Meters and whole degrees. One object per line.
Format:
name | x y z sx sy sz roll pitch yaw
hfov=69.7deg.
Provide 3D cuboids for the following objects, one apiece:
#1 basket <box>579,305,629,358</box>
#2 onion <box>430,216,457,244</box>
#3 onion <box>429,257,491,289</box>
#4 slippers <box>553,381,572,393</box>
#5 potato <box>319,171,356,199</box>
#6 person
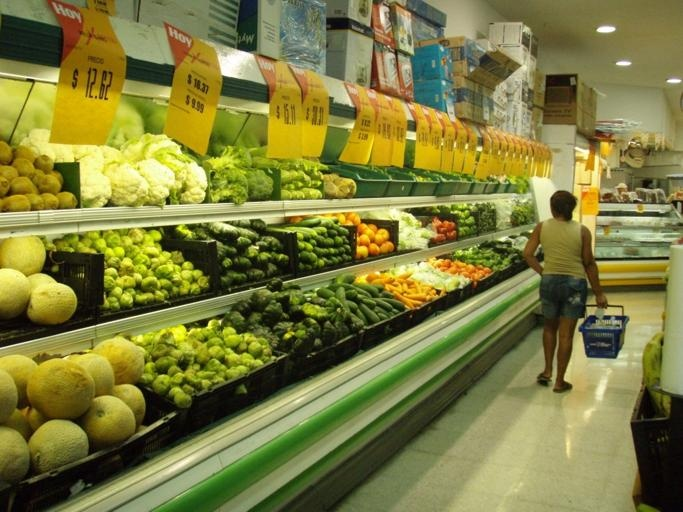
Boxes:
basket | 2.732 0.762 5.145 0.588 0.649 0.683 3 8 22
onion | 1.076 -0.272 5.223 0.192 0.292 0.316 -4 0 39
onion | 1.285 0.141 5.274 0.610 0.237 0.448 -3 13 -13
slippers | 2.047 1.169 4.540 0.073 0.090 0.231 2 10 42
potato | -0.021 -0.500 3.572 0.226 0.164 0.079 27 -12 -22
person | 2.139 0.308 4.715 0.714 1.857 0.496 2 -2 29
